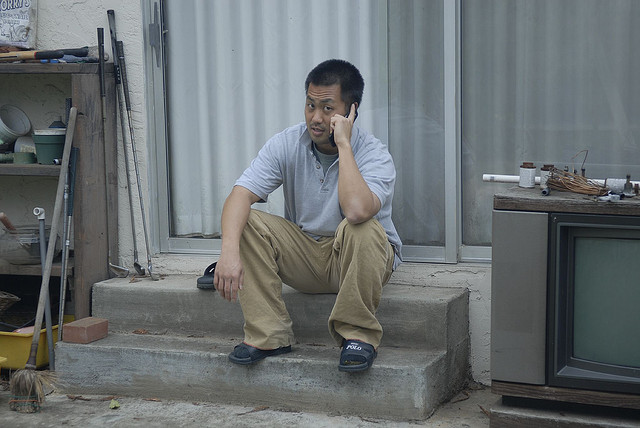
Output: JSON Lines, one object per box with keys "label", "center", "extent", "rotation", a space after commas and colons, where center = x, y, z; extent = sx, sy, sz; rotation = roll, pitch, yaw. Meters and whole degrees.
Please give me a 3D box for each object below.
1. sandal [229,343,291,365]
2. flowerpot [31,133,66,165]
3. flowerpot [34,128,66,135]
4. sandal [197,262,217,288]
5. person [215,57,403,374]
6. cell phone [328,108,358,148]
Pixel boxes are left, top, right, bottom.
{"label": "sandal", "center": [-0.317, 0.737, 3.768], "extent": [0.342, 0.114, 0.084], "rotation": [0, 5, -17]}
{"label": "flowerpot", "center": [-1.710, -0.411, 4.444], "extent": [0.187, 0.159, 0.187], "rotation": [0, 3, -7]}
{"label": "flowerpot", "center": [-1.703, -0.525, 4.436], "extent": [0.201, 0.044, 0.088], "rotation": [0, 5, -12]}
{"label": "sandal", "center": [-0.663, 0.369, 4.146], "extent": [0.074, 0.087, 0.207], "rotation": [4, 8, 34]}
{"label": "person", "center": [-0.045, -0.017, 3.807], "extent": [0.946, 1.643, 0.558], "rotation": [2, 4, 8]}
{"label": "cell phone", "center": [0.094, -0.491, 3.861], "extent": [0.143, 0.221, 0.067], "rotation": [1, 16, -16]}
